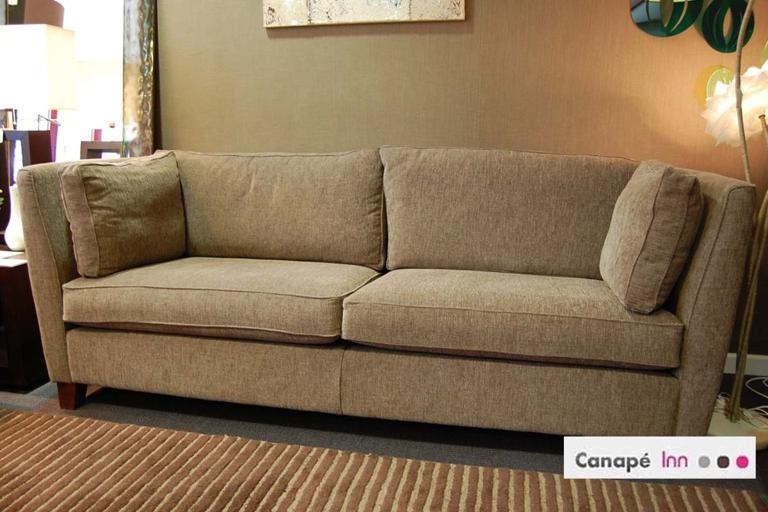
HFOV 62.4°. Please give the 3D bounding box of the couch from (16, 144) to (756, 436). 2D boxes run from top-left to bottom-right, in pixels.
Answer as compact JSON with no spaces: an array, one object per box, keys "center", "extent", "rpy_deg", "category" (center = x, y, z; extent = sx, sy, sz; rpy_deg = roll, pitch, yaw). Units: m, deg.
[{"center":[-0.072,0.082,3.305],"extent":[3.381,1.280,1.153],"rpy_deg":[3,13,13],"category":"couch"}]
